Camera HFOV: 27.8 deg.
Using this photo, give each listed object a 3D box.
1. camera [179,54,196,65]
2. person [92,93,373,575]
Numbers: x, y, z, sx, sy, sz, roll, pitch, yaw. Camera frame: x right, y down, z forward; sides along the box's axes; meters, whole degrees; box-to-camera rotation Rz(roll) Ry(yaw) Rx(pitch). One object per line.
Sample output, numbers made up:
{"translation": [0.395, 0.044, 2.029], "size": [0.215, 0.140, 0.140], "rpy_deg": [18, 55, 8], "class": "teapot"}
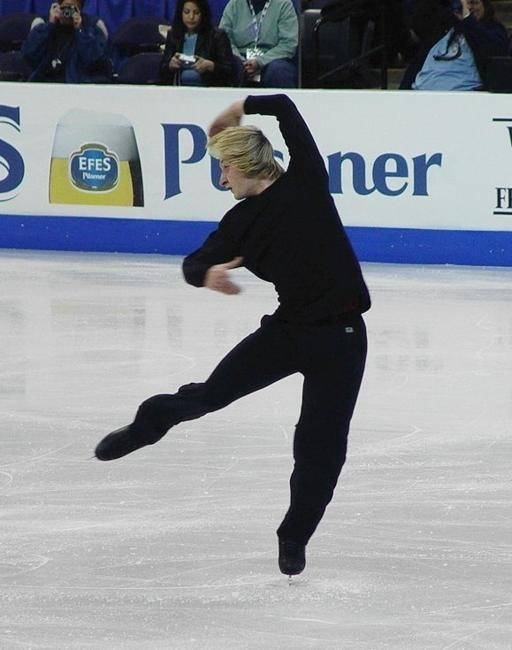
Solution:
{"translation": [-0.550, -2.036, 7.957], "size": [0.116, 0.069, 0.155], "rpy_deg": [-3, 19, -18], "class": "camera"}
{"translation": [0.001, 0.017, 2.813], "size": [0.615, 1.221, 0.474], "rpy_deg": [9, 21, 12], "class": "person"}
